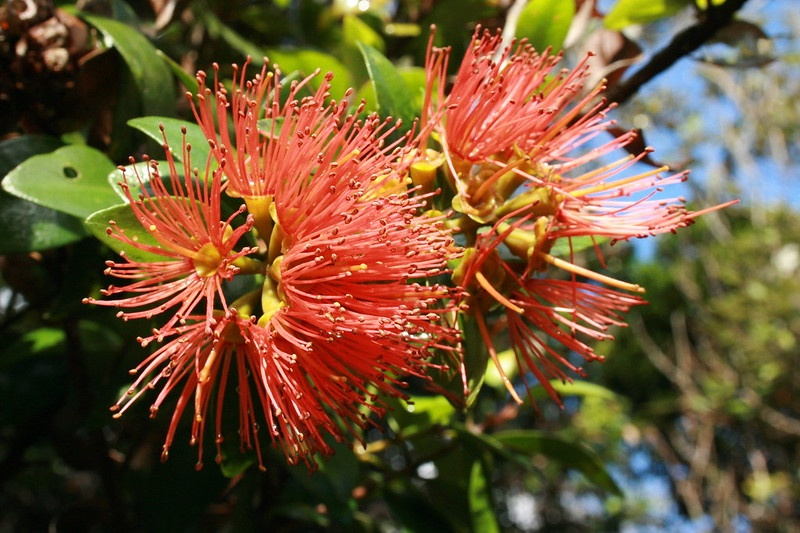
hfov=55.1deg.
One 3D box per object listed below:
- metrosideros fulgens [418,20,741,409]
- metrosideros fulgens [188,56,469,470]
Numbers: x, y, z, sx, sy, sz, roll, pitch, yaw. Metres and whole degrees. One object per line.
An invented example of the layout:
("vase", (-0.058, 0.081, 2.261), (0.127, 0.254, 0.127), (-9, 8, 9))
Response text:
("metrosideros fulgens", (0.291, -0.066, 2.530), (0.763, 1.205, 1.021), (-15, 75, -20))
("metrosideros fulgens", (-0.166, -0.087, 2.153), (0.570, 0.880, 1.013), (2, 41, 27))
